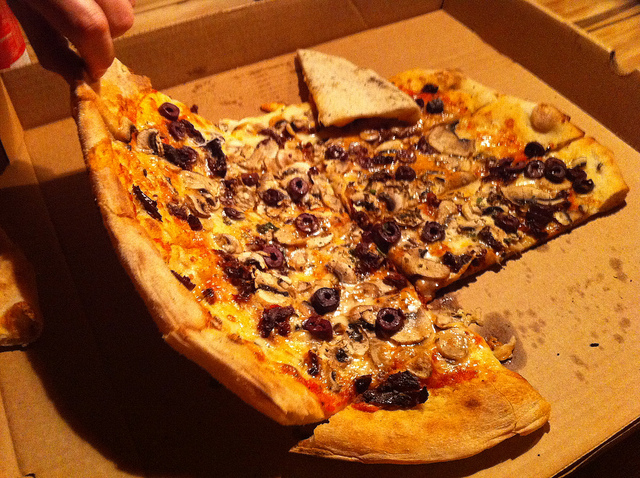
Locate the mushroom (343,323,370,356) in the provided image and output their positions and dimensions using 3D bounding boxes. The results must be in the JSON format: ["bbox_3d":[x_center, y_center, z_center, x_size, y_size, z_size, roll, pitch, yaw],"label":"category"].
[{"bbox_3d":[0.202,0.555,3.620,0.140,0.068,0.172,5,77,5],"label":"mushroom"}]

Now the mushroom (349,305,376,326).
[{"bbox_3d":[0.242,0.428,3.699,0.148,0.052,0.110,10,78,6],"label":"mushroom"}]

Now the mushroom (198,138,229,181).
[{"bbox_3d":[-0.648,-0.494,4.029,0.140,0.066,0.271,-10,81,-23],"label":"mushroom"}]

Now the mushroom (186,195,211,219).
[{"bbox_3d":[-0.710,-0.191,3.773,0.077,0.068,0.167,-30,77,-3],"label":"mushroom"}]

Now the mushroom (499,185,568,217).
[{"bbox_3d":[1.366,-0.263,4.259,0.338,0.088,0.219,11,66,-2],"label":"mushroom"}]

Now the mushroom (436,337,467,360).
[{"bbox_3d":[0.724,0.620,3.623,0.172,0.030,0.097,23,80,9],"label":"mushroom"}]

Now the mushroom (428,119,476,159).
[{"bbox_3d":[0.946,-0.682,4.460,0.215,0.201,0.376,-19,35,-34],"label":"mushroom"}]

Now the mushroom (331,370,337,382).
[{"bbox_3d":[0.072,0.735,3.516,0.023,0.009,0.042,0,84,-36],"label":"mushroom"}]

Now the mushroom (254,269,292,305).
[{"bbox_3d":[-0.268,0.262,3.667,0.182,0.052,0.188,47,43,10],"label":"mushroom"}]

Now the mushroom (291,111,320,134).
[{"bbox_3d":[-0.102,-0.805,4.436,0.157,0.043,0.155,46,62,9],"label":"mushroom"}]

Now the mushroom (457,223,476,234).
[{"bbox_3d":[0.925,-0.068,4.120,0.089,0.026,0.059,-10,67,-9],"label":"mushroom"}]

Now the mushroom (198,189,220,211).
[{"bbox_3d":[-0.654,-0.231,3.848,0.031,0.086,0.143,-38,88,24],"label":"mushroom"}]

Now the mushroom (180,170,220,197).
[{"bbox_3d":[-0.719,-0.345,3.891,0.050,0.127,0.218,-44,115,2],"label":"mushroom"}]

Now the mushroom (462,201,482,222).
[{"bbox_3d":[0.973,-0.173,4.180,0.106,0.033,0.107,-39,85,-25],"label":"mushroom"}]

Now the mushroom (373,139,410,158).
[{"bbox_3d":[0.478,-0.619,4.390,0.199,0.048,0.131,-17,55,-11],"label":"mushroom"}]

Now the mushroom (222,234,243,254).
[{"bbox_3d":[-0.510,0.027,3.741,0.101,0.074,0.121,-11,76,2],"label":"mushroom"}]

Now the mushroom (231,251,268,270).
[{"bbox_3d":[-0.392,0.112,3.713,0.153,0.040,0.103,11,46,-15],"label":"mushroom"}]

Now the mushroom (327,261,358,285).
[{"bbox_3d":[0.129,0.195,3.835,0.100,0.030,0.205,-44,78,-6],"label":"mushroom"}]
